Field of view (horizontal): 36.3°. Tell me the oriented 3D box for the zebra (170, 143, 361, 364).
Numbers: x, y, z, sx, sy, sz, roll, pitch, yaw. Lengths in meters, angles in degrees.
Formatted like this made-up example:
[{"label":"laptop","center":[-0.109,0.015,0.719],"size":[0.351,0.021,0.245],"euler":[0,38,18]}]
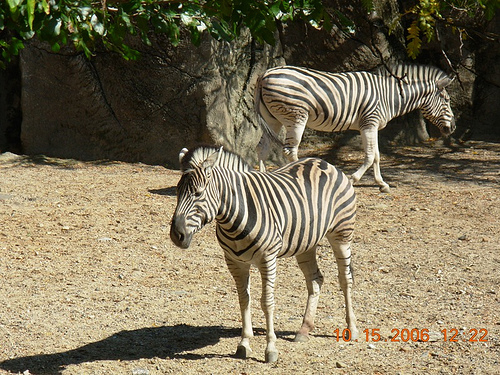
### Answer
[{"label":"zebra","center":[0.205,0.638,8.043],"size":[0.806,2.223,2.760],"euler":[-2,0,44]}]
